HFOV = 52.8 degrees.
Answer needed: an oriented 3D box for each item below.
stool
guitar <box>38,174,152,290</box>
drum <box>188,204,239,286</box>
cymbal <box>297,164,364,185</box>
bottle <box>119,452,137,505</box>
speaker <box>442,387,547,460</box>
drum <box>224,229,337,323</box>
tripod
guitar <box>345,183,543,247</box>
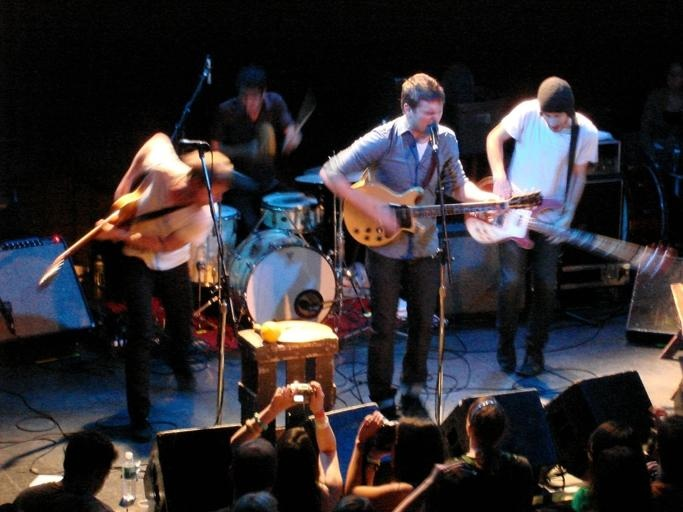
[{"bbox_3d":[-0.383,0.851,4.937,0.793,1.003,0.615,-3,14,-15],"label":"stool"},{"bbox_3d":[-2.191,-0.243,6.038,1.553,0.217,0.258,-38,50,-5],"label":"guitar"},{"bbox_3d":[-1.111,-0.074,5.918,0.506,0.615,0.531,-4,32,-23],"label":"drum"},{"bbox_3d":[-0.181,-0.778,6.878,0.506,0.163,0.502,-3,3,0],"label":"cymbal"},{"bbox_3d":[-1.384,1.411,4.465,0.107,0.325,0.294,-1,8,-16],"label":"bottle"},{"bbox_3d":[0.960,1.035,4.238,0.462,0.339,0.487,6,-9,-21],"label":"speaker"},{"bbox_3d":[-0.553,0.172,6.592,1.004,0.962,0.809,0,28,-9],"label":"drum"},{"bbox_3d":[0.049,0.210,6.909,0.323,0.894,0.378,-9,52,-3],"label":"tripod"},{"bbox_3d":[0.666,-0.290,5.010,1.247,0.481,0.426,-1,8,-19],"label":"guitar"}]
